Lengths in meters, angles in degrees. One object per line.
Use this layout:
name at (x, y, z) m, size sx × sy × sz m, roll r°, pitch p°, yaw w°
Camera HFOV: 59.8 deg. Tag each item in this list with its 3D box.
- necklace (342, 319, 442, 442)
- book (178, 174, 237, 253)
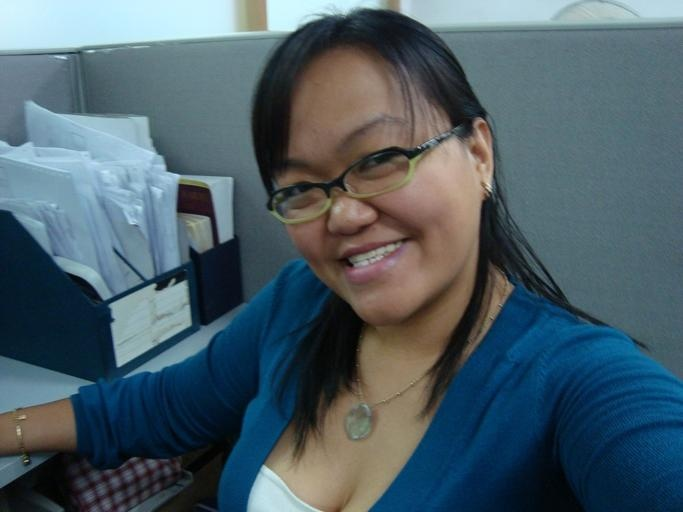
necklace at (0.090, 0.234, 1.121) m, size 0.125 × 0.157 × 0.154 m, roll 12°, pitch 39°, yaw 27°
book at (-0.379, -0.113, 1.654) m, size 0.166 × 0.167 × 0.098 m, roll 13°, pitch 26°, yaw 24°
